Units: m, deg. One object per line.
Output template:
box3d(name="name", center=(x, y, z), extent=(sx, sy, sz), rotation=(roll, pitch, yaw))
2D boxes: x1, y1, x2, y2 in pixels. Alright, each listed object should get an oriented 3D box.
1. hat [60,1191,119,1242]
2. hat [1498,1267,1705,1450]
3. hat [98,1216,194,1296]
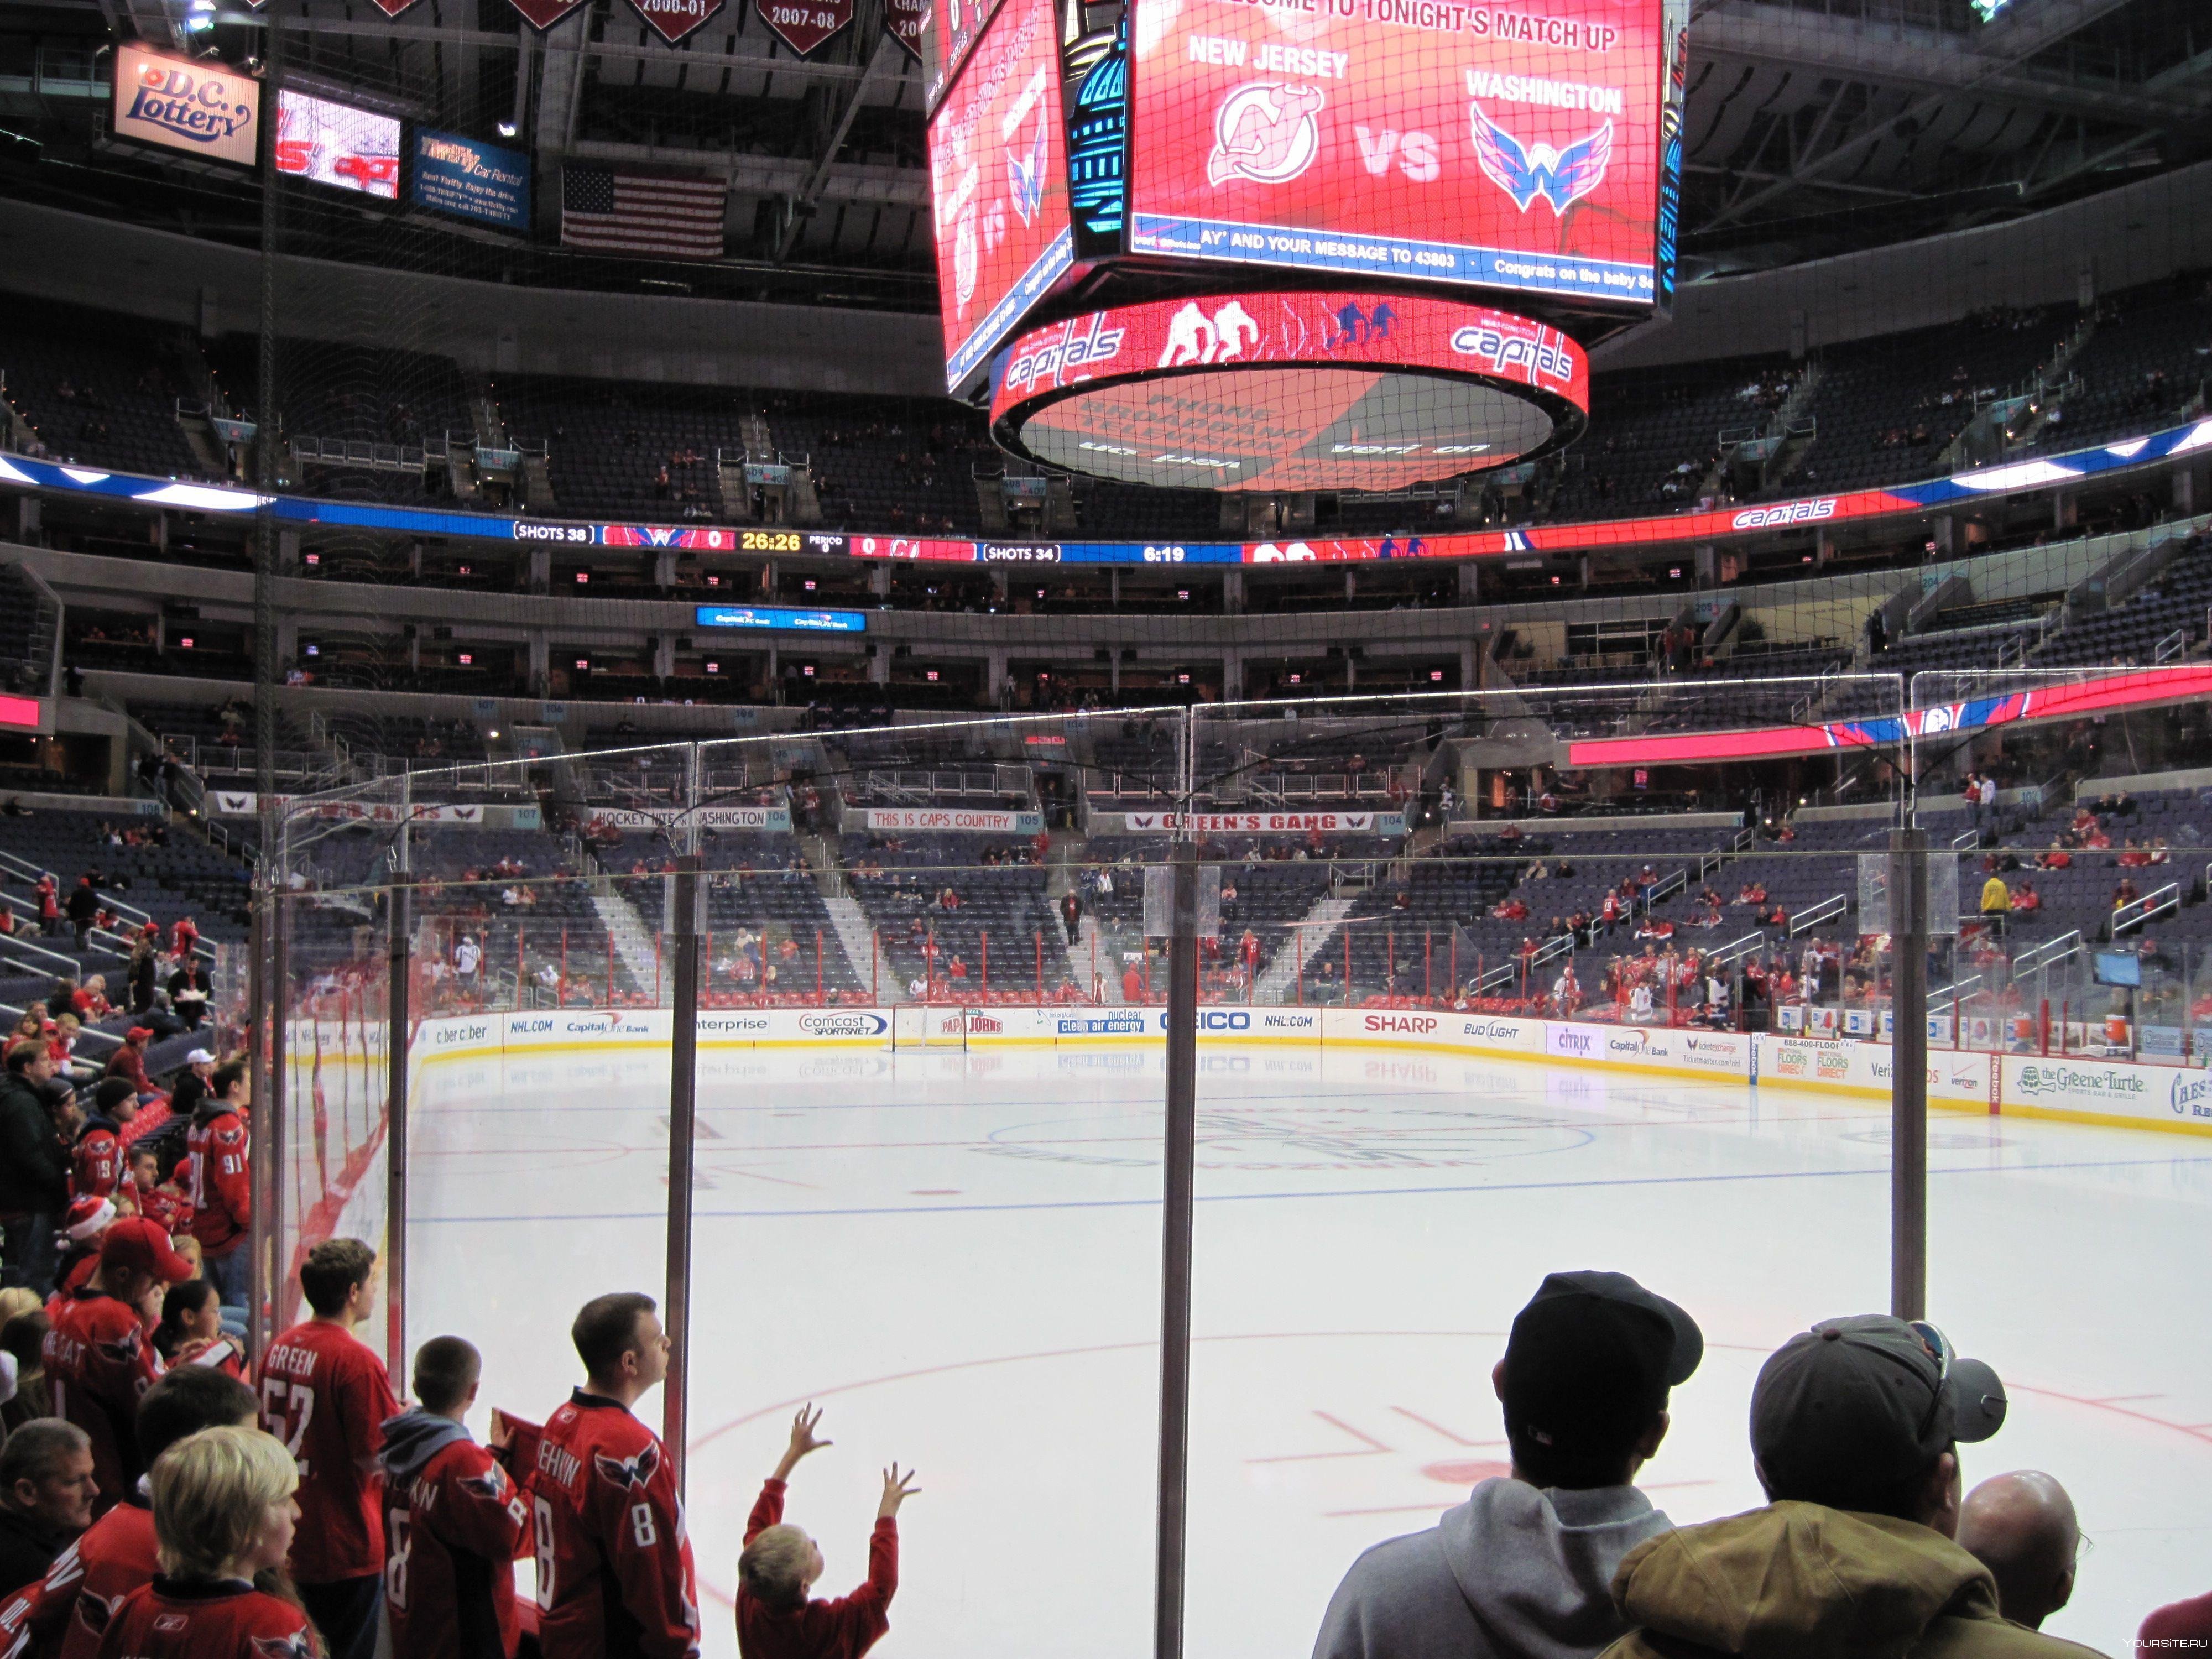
box3d(name="hat", center=(-5.091, 1.972, 12.011), extent=(0.275, 0.139, 0.366), rotation=(-12, 9, 9))
box3d(name="hat", center=(1.578, 1.699, 7.567), extent=(0.432, 0.387, 0.665), rotation=(9, 27, 28))
box3d(name="hat", center=(-4.203, 1.891, 10.537), extent=(0.286, 0.232, 0.438), rotation=(11, 7, 44))
